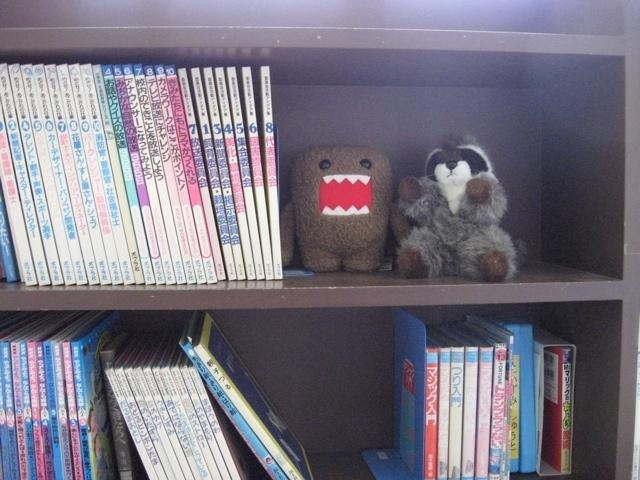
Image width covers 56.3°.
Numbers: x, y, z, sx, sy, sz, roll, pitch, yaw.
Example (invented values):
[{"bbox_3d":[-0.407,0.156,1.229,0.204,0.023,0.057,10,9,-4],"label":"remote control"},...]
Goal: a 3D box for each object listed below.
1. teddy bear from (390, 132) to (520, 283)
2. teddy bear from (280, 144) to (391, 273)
[{"bbox_3d":[0.305,-0.074,1.328,0.277,0.323,0.278,-4,4,-37],"label":"teddy bear"},{"bbox_3d":[0.040,-0.066,1.364,0.293,0.312,0.171,0,0,-5],"label":"teddy bear"}]
